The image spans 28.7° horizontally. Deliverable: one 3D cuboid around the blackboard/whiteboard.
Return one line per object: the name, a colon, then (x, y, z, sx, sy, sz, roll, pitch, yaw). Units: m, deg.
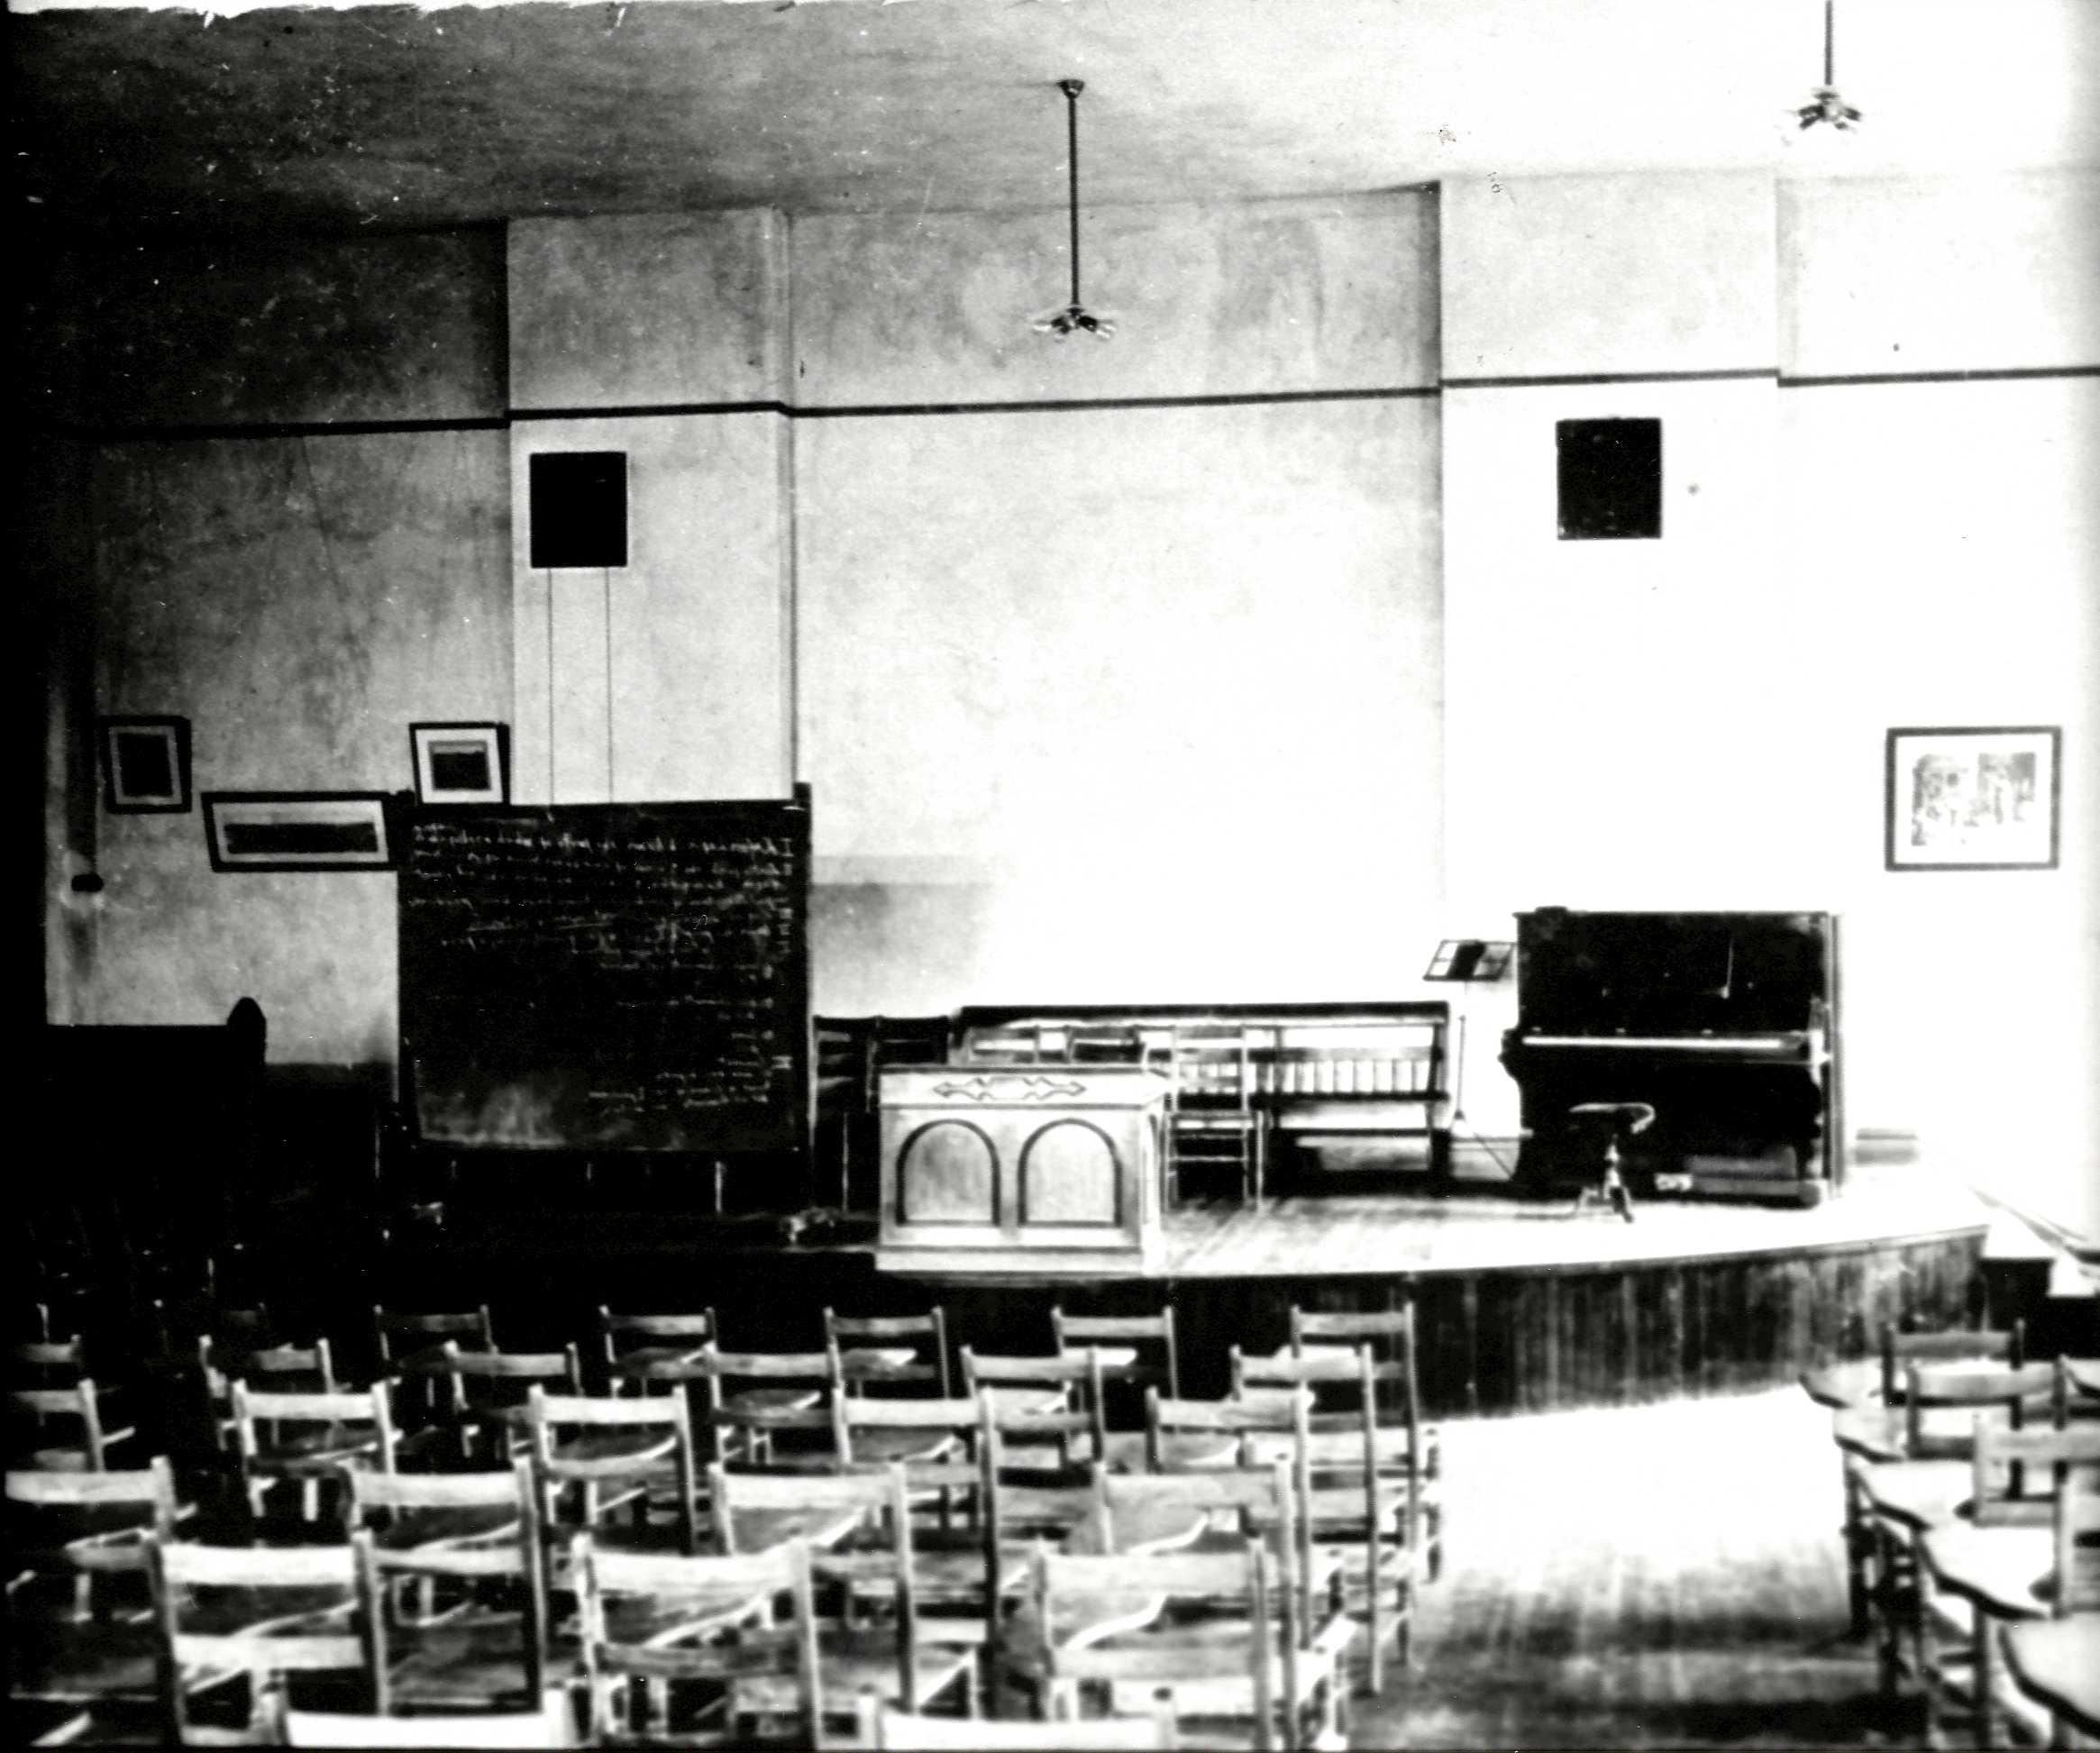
blackboard/whiteboard: (-2.487, 0.582, 22.836, 2.292, 2.055, 0.234, 1, 9, -3)

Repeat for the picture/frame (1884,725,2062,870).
picture/frame: (5.270, -0.450, 23.578, 0.945, 0.883, 0.109, -1, 20, 10)

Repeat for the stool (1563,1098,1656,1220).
stool: (2.925, 1.500, 21.530, 0.440, 0.557, 0.435, 0, 3, 28)

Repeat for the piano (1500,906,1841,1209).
piano: (3.318, 0.889, 21.975, 1.517, 1.662, 0.684, 0, 0, 34)
